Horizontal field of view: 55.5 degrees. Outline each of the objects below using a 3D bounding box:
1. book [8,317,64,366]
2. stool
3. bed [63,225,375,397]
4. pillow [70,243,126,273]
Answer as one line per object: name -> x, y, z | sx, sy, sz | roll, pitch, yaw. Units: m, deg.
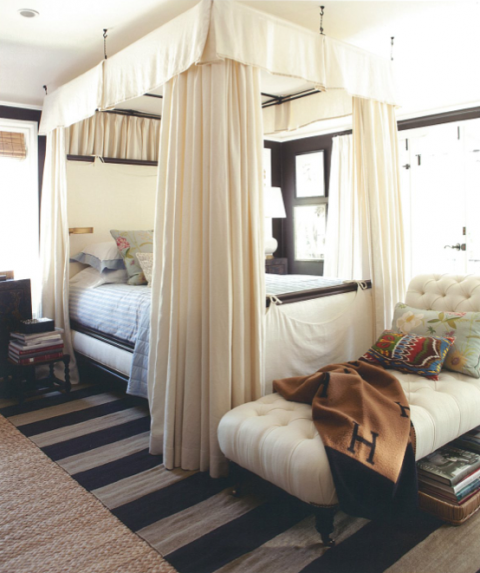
book -> -1.455, 0.373, 3.316 | 0.344, 0.321, 0.327 | 2, 3, 44
stool -> -1.478, 0.683, 3.297 | 0.333, 0.263, 0.324 | -2, 1, -40
bed -> -0.321, 0.142, 3.182 | 1.123, 1.002, 1.825 | -9, 10, -44
pillow -> -1.169, -0.247, 3.773 | 0.274, 0.099, 0.309 | 14, 16, 36
